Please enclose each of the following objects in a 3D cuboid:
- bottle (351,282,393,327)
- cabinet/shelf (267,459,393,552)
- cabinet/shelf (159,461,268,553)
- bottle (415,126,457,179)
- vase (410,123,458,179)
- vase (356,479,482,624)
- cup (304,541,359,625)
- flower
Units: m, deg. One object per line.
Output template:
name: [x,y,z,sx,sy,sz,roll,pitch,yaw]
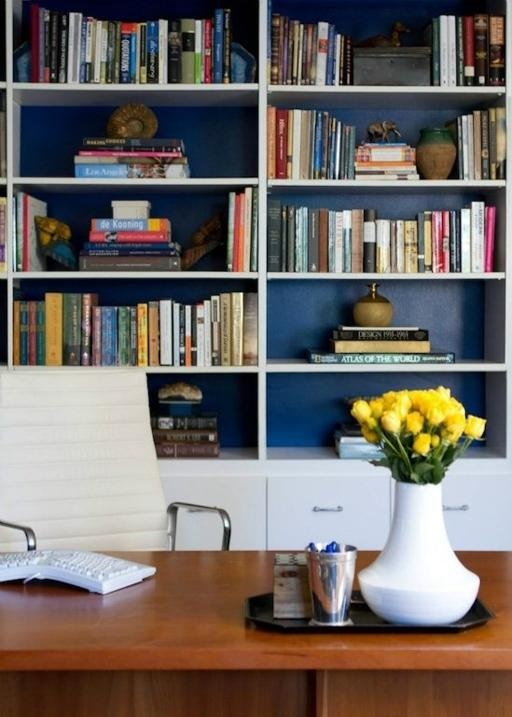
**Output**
bottle: [0.422,-0.181,2.876,0.159,0.188,0.155,3,-7,-2]
cabinet/shelf: [0.255,0.564,2.831,0.490,0.332,0.268,0,15,4]
cabinet/shelf: [-0.137,0.495,2.568,0.332,0.293,0.148,1,-4,1]
bottle: [0.653,-0.731,2.847,0.161,0.191,0.142,0,1,-11]
vase: [0.646,-0.738,2.858,0.161,0.178,0.152,-12,15,-41]
vase: [0.246,0.304,1.235,0.205,0.207,0.194,2,-4,-20]
cup: [0.114,0.347,1.197,0.082,0.109,0.079,0,-6,0]
flower: [0.253,0.148,1.222,0.208,0.197,0.220,3,-22,10]
